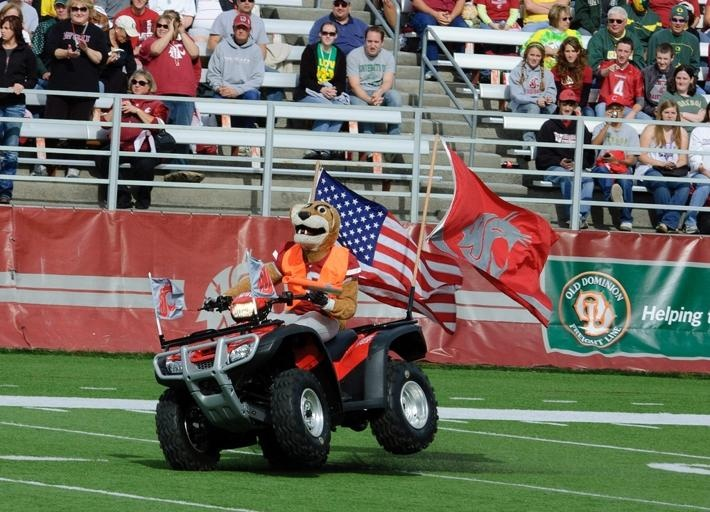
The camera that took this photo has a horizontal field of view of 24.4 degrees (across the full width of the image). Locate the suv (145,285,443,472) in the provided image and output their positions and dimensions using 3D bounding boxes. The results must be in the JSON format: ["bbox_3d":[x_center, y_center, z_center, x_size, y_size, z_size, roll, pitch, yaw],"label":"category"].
[{"bbox_3d":[-0.816,1.466,18.993,2.153,1.883,3.272,-10,-9,35],"label":"suv"}]

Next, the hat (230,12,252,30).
[{"bbox_3d":[-1.809,-3.671,25.923,0.236,0.175,0.320,7,2,-4],"label":"hat"}]

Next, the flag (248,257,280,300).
[{"bbox_3d":[-1.058,0.202,18.324,0.350,0.503,0.372,3,11,-3],"label":"flag"}]

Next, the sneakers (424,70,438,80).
[{"bbox_3d":[1.230,-3.005,27.585,0.100,0.114,0.282,-1,-12,8],"label":"sneakers"}]

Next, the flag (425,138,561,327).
[{"bbox_3d":[1.835,-0.211,22.160,0.524,2.841,2.794,-18,-16,41],"label":"flag"}]

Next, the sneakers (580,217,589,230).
[{"bbox_3d":[3.483,-0.479,25.142,0.083,0.116,0.301,5,13,12],"label":"sneakers"}]

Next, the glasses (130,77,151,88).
[{"bbox_3d":[-3.257,-2.579,24.703,0.289,0.124,0.083,1,12,-14],"label":"glasses"}]

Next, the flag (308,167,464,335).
[{"bbox_3d":[0.367,-0.063,19.867,2.097,1.574,0.250,13,-19,-19],"label":"flag"}]
